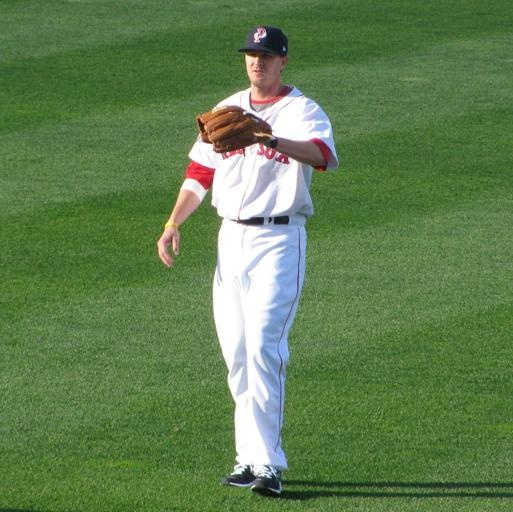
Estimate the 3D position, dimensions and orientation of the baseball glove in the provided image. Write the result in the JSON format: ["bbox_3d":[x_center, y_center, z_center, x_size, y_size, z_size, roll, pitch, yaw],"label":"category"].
[{"bbox_3d":[-0.082,-0.784,6.794,0.467,0.246,0.304,-1,-3,-3],"label":"baseball glove"}]

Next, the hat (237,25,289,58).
[{"bbox_3d":[0.080,-1.384,7.059,0.176,0.128,0.245,8,10,27],"label":"hat"}]

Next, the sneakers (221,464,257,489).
[{"bbox_3d":[-0.095,1.380,6.834,0.240,0.128,0.102,2,-3,19],"label":"sneakers"}]

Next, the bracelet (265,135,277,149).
[{"bbox_3d":[0.086,-0.691,6.602,0.062,0.068,0.066,7,9,-7],"label":"bracelet"}]
